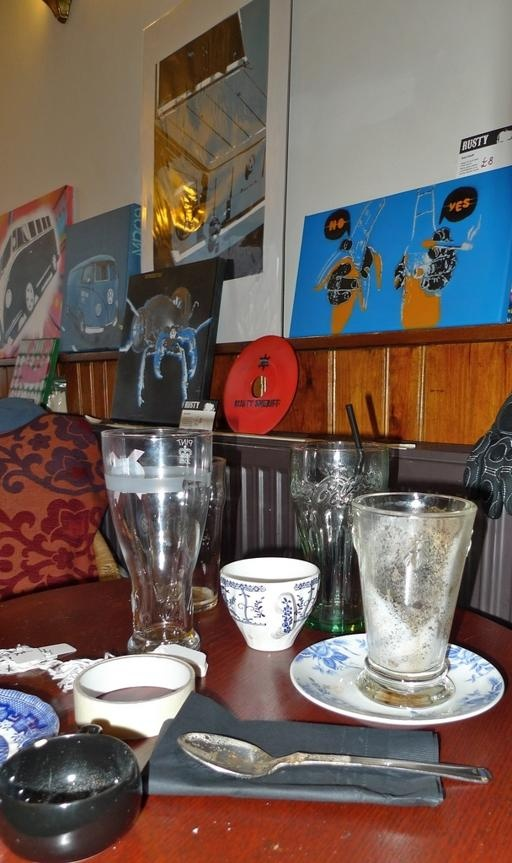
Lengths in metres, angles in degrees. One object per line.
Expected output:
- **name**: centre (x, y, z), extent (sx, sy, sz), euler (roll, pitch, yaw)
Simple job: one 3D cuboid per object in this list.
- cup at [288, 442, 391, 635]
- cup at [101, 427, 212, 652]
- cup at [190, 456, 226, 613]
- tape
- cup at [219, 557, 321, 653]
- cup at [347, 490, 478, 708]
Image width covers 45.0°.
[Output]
- **cup**: centre (0.090, 0.102, 0.702), extent (0.130, 0.198, 0.102), euler (0, 12, -27)
- **cup**: centre (-0.102, 0.085, 0.592), extent (0.089, 0.212, 0.099), euler (0, -1, 28)
- **cup**: centre (-0.054, 0.134, 0.752), extent (0.044, 0.157, 0.047), euler (2, 12, -1)
- **tape**: centre (-0.091, 0.177, 0.433), extent (0.072, 0.039, 0.050), euler (1, 2, 1)
- **cup**: centre (0.005, 0.164, 0.623), extent (0.078, 0.075, 0.116), euler (-1, -3, 40)
- **cup**: centre (0.129, 0.124, 0.522), extent (0.090, 0.161, 0.100), euler (1, 0, -41)
